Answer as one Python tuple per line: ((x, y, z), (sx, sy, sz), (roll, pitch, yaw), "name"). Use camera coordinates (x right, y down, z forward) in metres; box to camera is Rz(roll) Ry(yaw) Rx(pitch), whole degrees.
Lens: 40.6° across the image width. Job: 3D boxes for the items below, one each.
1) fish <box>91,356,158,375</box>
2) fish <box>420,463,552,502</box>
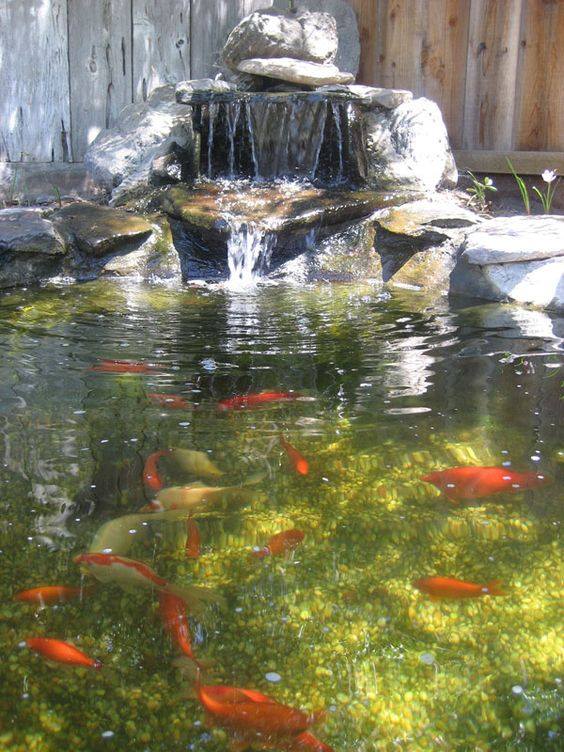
((-0.627, -0.036, 3.053), (0.247, 0.029, 0.179), (0, 9, 3), "fish")
((0.521, 0.297, 2.043), (0.424, 0.140, 0.105), (-1, -15, 4), "fish")
